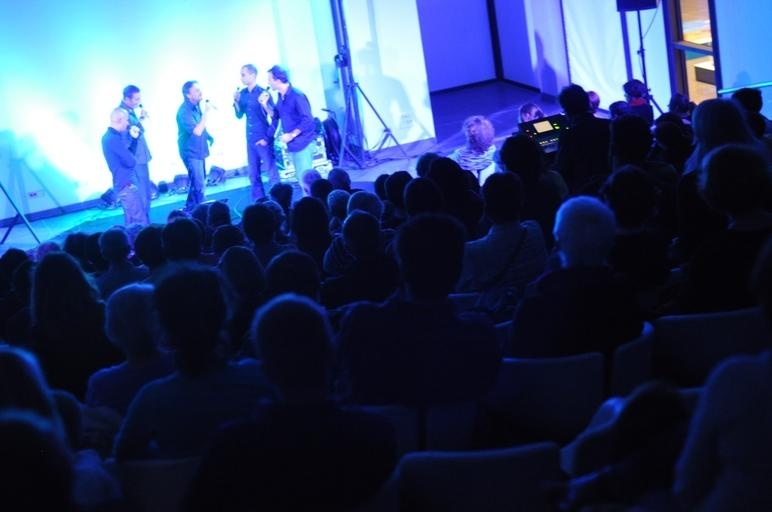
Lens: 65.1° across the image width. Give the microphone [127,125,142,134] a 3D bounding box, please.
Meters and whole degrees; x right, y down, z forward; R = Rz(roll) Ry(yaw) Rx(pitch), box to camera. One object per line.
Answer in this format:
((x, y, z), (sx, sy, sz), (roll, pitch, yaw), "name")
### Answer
((-3.382, -1.658, 8.094), (0.122, 0.124, 0.037), (10, -19, -7), "microphone")
